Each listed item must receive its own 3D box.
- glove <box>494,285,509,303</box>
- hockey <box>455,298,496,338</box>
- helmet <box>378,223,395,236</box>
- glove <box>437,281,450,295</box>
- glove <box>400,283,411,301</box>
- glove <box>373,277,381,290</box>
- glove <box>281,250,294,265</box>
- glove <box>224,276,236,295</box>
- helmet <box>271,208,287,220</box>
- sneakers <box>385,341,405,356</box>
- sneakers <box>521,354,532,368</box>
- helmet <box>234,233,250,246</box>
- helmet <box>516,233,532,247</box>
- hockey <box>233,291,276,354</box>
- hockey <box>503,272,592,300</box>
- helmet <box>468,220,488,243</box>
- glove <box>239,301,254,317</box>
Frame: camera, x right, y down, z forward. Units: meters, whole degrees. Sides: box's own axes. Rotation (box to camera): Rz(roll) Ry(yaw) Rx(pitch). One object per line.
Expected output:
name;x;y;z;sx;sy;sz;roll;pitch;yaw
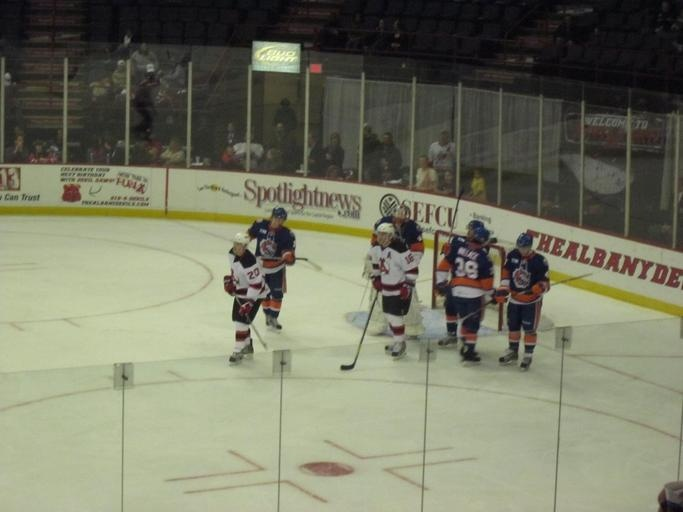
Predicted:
glove;2.004;0.466;12.520;0.147;0.195;0.204;0;1;1
hockey;1.686;0.774;12.630;0.504;0.469;1.872;2;-1;14
helmet;0.560;-0.349;12.633;0.172;0.134;0.172;-14;-29;19
glove;1.349;0.411;13.194;0.150;0.154;0.181;-1;-1;-6
glove;0.828;0.445;12.619;0.140;0.183;0.179;0;16;5
glove;0.445;0.332;12.892;0.151;0.138;0.125;-1;1;36
glove;-0.754;0.012;13.859;0.187;0.195;0.226;1;13;-4
glove;-1.403;0.341;12.265;0.079;0.211;0.156;-4;7;-16
helmet;-0.891;-0.613;13.916;0.176;0.167;0.208;12;19;-4
sneakers;0.491;0.830;9.016;0.084;0.100;0.247;0;-3;21
sneakers;1.727;0.969;9.272;0.103;0.129;0.074;3;14;3
helmet;-1.227;-0.229;12.097;0.176;0.132;0.177;15;-40;-41
helmet;2.315;-0.219;12.542;0.166;0.191;0.208;4;2;27
hockey;-1.178;0.666;12.335;0.372;1.025;0.280;13;-8;-13
hockey;2.887;0.404;13.836;1.253;0.175;0.166;-14;11;27
helmet;1.790;-0.345;12.996;0.223;0.293;0.264;1;-22;-15
glove;-1.181;0.620;12.098;0.095;0.096;0.230;1;12;6
